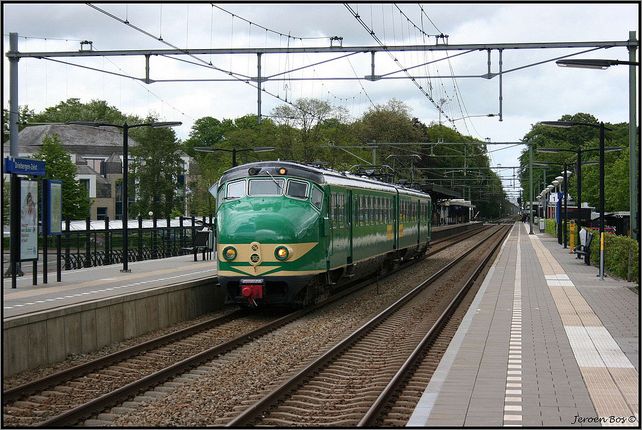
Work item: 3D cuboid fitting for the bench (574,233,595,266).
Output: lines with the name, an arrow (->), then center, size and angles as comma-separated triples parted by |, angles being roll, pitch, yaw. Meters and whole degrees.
bench -> 13.505, 1.799, 32.459 | 0.613, 1.218, 1.586 | 0, -2, 12

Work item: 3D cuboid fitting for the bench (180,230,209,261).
bench -> -6.259, 1.473, 31.379 | 1.370, 1.969, 1.562 | -4, -5, 33
